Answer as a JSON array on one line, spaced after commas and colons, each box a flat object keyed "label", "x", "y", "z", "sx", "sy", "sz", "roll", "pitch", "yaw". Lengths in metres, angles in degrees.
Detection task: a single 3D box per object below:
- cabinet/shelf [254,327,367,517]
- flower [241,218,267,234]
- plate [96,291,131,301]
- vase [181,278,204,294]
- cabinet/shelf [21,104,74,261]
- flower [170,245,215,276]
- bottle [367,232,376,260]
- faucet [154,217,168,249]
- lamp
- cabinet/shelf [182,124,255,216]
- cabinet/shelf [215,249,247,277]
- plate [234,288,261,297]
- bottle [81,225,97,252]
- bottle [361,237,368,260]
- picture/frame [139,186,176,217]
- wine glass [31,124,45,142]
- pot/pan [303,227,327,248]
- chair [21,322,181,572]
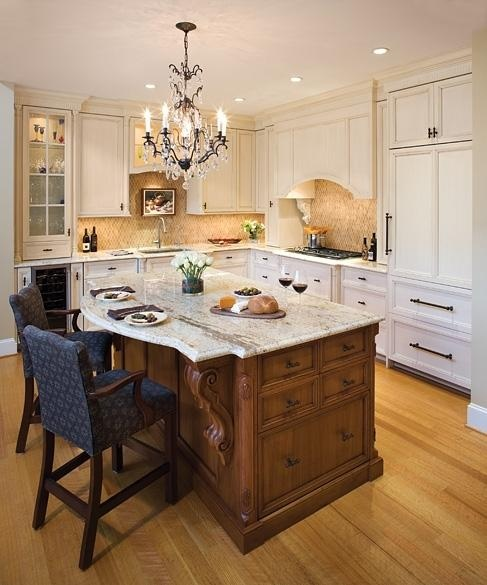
[{"label": "cabinet/shelf", "x": 0.287, "y": 0.593, "z": 2.082, "sx": 0.807, "sy": 0.777, "sz": 0.348, "roll": -5, "pitch": 6, "yaw": -42}, {"label": "flower", "x": 0.087, "y": -0.899, "z": 6.246, "sx": 0.251, "sy": 0.163, "sz": 0.250, "roll": -2, "pitch": 6, "yaw": -41}, {"label": "plate", "x": -0.797, "y": 0.028, "z": 2.764, "sx": 0.214, "sy": 0.032, "sz": 0.216, "roll": -3, "pitch": 9, "yaw": -17}, {"label": "vase", "x": -0.317, "y": -0.041, "z": 2.853, "sx": 0.099, "sy": 0.070, "sz": 0.101, "roll": 1, "pitch": 1, "yaw": -12}, {"label": "cabinet/shelf", "x": -2.041, "y": -1.127, "z": 4.769, "sx": 0.529, "sy": 1.479, "sz": 0.207, "roll": 1, "pitch": 3, "yaw": 1}, {"label": "flower", "x": -0.321, "y": -0.202, "z": 2.798, "sx": 0.205, "sy": 0.189, "sz": 0.198, "roll": 2, "pitch": 8, "yaw": 20}, {"label": "bottle", "x": 1.307, "y": -0.461, "z": 4.610, "sx": 0.077, "sy": 0.277, "sz": 0.287, "roll": 2, "pitch": 9, "yaw": 12}, {"label": "faucet", "x": -1.076, "y": -0.767, "z": 5.804, "sx": 0.172, "sy": 0.397, "sz": 0.377, "roll": -2, "pitch": 9, "yaw": -11}, {"label": "lamp", "x": -0.406, "y": -1.335, "z": 3.185, "sx": 0.565, "sy": 1.029, "sz": 0.565, "roll": 5, "pitch": 14, "yaw": 20}, {"label": "cabinet/shelf", "x": -0.247, "y": -1.637, "z": 6.139, "sx": 1.063, "sy": 1.091, "sz": 0.350, "roll": -13, "pitch": 19, "yaw": -43}, {"label": "cabinet/shelf", "x": -0.174, "y": -0.405, "z": 5.856, "sx": 0.484, "sy": 0.460, "sz": 0.309, "roll": -6, "pitch": 9, "yaw": -39}, {"label": "plate", "x": 0.023, "y": -0.002, "z": 2.707, "sx": 0.141, "sy": 0.046, "sz": 0.181, "roll": 1, "pitch": 9, "yaw": 7}, {"label": "bottle", "x": -1.821, "y": -0.626, "z": 5.318, "sx": 0.180, "sy": 0.299, "sz": 0.239, "roll": -3, "pitch": 9, "yaw": -19}, {"label": "bottle", "x": 1.259, "y": -0.456, "z": 4.703, "sx": 0.055, "sy": 0.219, "sz": 0.236, "roll": 2, "pitch": 9, "yaw": 15}, {"label": "picture/frame", "x": -1.136, "y": -1.177, "z": 5.787, "sx": 0.382, "sy": 0.282, "sz": 0.025, "roll": -12, "pitch": 15, "yaw": -43}, {"label": "wine glass", "x": -2.083, "y": -1.611, "z": 4.566, "sx": 0.141, "sy": 0.159, "sz": 0.143, "roll": -1, "pitch": 6, "yaw": -17}, {"label": "pot/pan", "x": 0.843, "y": -0.667, "z": 5.543, "sx": 0.271, "sy": 0.244, "sz": 0.253, "roll": -3, "pitch": 5, "yaw": -33}, {"label": "chair", "x": -0.645, "y": 0.600, "z": 2.077, "sx": 0.517, "sy": 0.947, "sz": 0.558, "roll": 6, "pitch": 10, "yaw": 38}]
